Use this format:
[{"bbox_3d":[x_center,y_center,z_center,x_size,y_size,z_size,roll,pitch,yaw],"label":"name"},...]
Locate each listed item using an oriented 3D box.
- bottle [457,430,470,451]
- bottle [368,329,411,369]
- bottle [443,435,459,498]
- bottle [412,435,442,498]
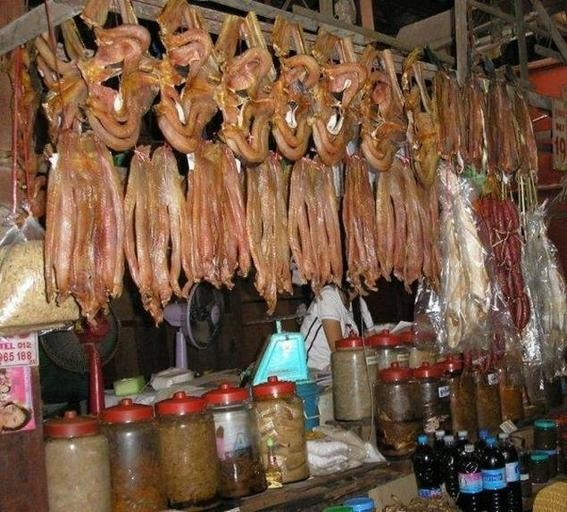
[{"bbox_3d":[0.801,0.828,2.772,0.062,0.127,0.076,0,-9,6],"label":"bottle"},{"bbox_3d":[0.535,0.475,3.192,0.163,0.218,0.172,0,-3,0],"label":"bottle"},{"bbox_3d":[0.723,0.912,2.669,0.073,0.260,0.172,-7,-8,14],"label":"bottle"},{"bbox_3d":[0.591,0.869,2.565,0.112,0.231,0.273,-7,-8,12],"label":"bottle"}]
